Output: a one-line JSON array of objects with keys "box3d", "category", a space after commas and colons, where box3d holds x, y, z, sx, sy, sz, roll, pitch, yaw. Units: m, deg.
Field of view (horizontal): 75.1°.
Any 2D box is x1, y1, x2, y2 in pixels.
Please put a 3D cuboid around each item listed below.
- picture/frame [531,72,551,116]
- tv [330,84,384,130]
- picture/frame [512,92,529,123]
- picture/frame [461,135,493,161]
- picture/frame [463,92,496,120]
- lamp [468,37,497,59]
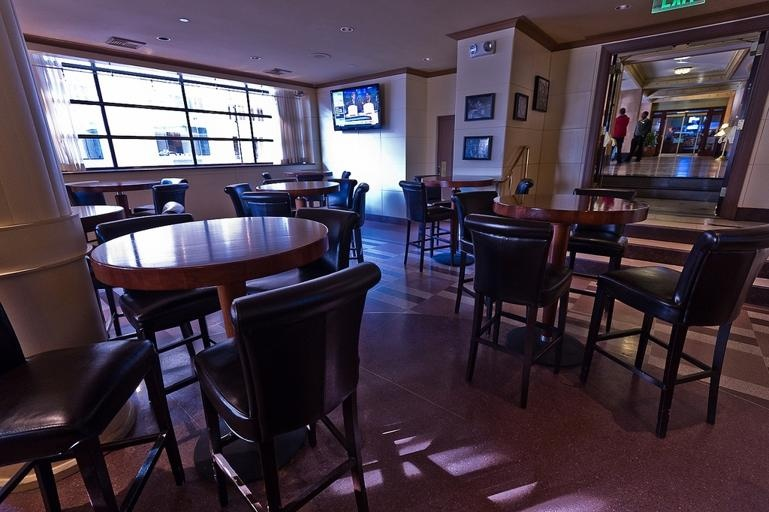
[{"box3d": [2.144, -2.275, 6.892, 0.082, 0.460, 0.499, 7, 29, 37], "category": "picture/frame"}, {"box3d": [-0.434, -2.569, 8.515, 0.908, 0.635, 0.100, 11, 30, 32], "category": "tv"}, {"box3d": [1.775, -1.985, 6.567, 0.044, 0.320, 0.388, 8, 23, 30], "category": "picture/frame"}, {"box3d": [1.273, -1.483, 6.769, 0.377, 0.277, 0.027, 14, 21, 42], "category": "picture/frame"}, {"box3d": [1.276, -1.998, 6.597, 0.031, 0.299, 0.408, -23, 26, -40], "category": "picture/frame"}, {"box3d": [1.249, -2.684, 6.415, 0.095, 0.199, 0.405, -14, 19, -36], "category": "lamp"}]
